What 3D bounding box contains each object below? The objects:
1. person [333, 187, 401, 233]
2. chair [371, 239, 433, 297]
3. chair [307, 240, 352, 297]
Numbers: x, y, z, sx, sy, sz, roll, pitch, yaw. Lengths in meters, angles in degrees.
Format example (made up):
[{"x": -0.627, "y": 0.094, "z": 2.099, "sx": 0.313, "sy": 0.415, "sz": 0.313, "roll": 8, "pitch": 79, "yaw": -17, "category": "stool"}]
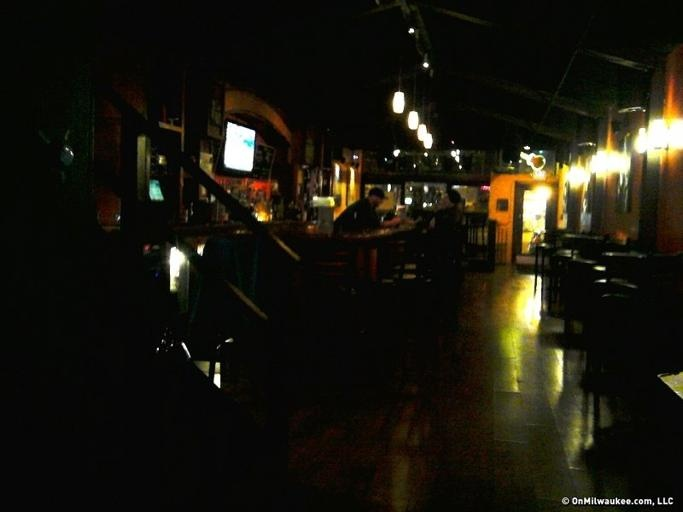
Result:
[{"x": 0.336, "y": -0.669, "z": 8.627, "sx": 0.942, "sy": 0.592, "sz": 0.501, "roll": -7, "pitch": 12, "yaw": -42, "category": "person"}, {"x": 0.966, "y": 0.134, "z": 9.139, "sx": 0.674, "sy": 0.977, "sz": 2.340, "roll": 3, "pitch": 10, "yaw": 12, "category": "chair"}, {"x": -0.148, "y": 0.107, "z": 6.840, "sx": 0.423, "sy": 0.623, "sz": 0.217, "roll": -1, "pitch": 9, "yaw": -6, "category": "chair"}]
